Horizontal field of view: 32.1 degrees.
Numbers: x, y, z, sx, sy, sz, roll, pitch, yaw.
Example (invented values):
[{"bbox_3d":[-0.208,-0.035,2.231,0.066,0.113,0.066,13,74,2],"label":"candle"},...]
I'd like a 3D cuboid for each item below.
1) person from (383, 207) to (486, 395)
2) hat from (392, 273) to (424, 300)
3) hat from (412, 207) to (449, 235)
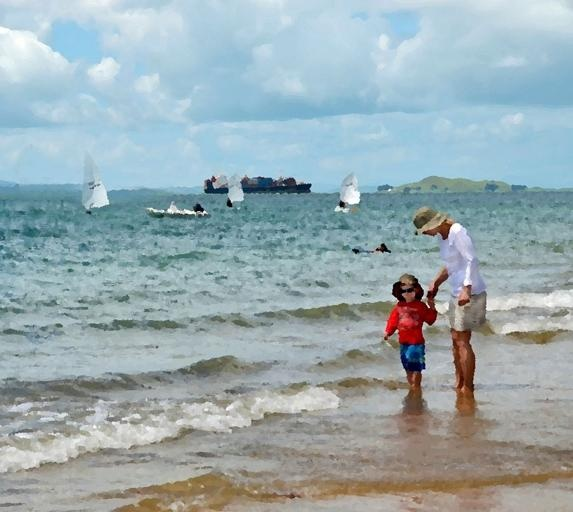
[{"bbox_3d":[2.338,0.655,13.775,0.833,2.623,0.605,6,14,44],"label":"person"},{"bbox_3d":[1.750,0.447,14.328,0.383,0.403,0.192,-3,23,11],"label":"hat"},{"bbox_3d":[1.997,-0.430,13.714,0.445,0.222,0.414,-38,12,-11],"label":"hat"}]
